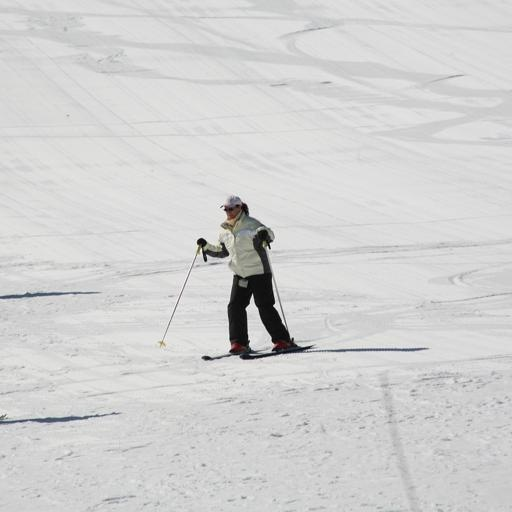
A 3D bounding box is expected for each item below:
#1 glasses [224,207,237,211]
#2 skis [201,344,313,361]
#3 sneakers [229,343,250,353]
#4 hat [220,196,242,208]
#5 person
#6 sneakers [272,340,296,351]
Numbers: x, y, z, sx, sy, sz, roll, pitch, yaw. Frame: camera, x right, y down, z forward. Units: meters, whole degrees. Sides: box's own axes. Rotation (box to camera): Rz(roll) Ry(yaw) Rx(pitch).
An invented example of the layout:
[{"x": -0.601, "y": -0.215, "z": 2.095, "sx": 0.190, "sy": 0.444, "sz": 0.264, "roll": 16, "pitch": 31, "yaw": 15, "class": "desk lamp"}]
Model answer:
[{"x": -0.234, "y": -0.410, "z": 7.800, "sx": 0.054, "sy": 0.044, "sz": 0.013, "roll": -8, "pitch": 39, "yaw": 26, "class": "glasses"}, {"x": 0.009, "y": 0.824, "z": 7.641, "sx": 1.082, "sy": 0.087, "sz": 0.115, "roll": -1, "pitch": -4, "yaw": -40, "class": "skis"}, {"x": -0.152, "y": 0.790, "z": 7.718, "sx": 0.073, "sy": 0.059, "sz": 0.180, "roll": 6, "pitch": 8, "yaw": 35, "class": "sneakers"}, {"x": -0.206, "y": -0.472, "z": 7.825, "sx": 0.181, "sy": 0.072, "sz": 0.121, "roll": 8, "pitch": -4, "yaw": -41, "class": "hat"}, {"x": -0.112, "y": 0.161, "z": 7.879, "sx": 0.530, "sy": 1.360, "sz": 0.904, "roll": -7, "pitch": 12, "yaw": -42, "class": "person"}, {"x": 0.214, "y": 0.769, "z": 7.758, "sx": 0.224, "sy": 0.068, "sz": 0.079, "roll": -7, "pitch": 8, "yaw": -38, "class": "sneakers"}]
